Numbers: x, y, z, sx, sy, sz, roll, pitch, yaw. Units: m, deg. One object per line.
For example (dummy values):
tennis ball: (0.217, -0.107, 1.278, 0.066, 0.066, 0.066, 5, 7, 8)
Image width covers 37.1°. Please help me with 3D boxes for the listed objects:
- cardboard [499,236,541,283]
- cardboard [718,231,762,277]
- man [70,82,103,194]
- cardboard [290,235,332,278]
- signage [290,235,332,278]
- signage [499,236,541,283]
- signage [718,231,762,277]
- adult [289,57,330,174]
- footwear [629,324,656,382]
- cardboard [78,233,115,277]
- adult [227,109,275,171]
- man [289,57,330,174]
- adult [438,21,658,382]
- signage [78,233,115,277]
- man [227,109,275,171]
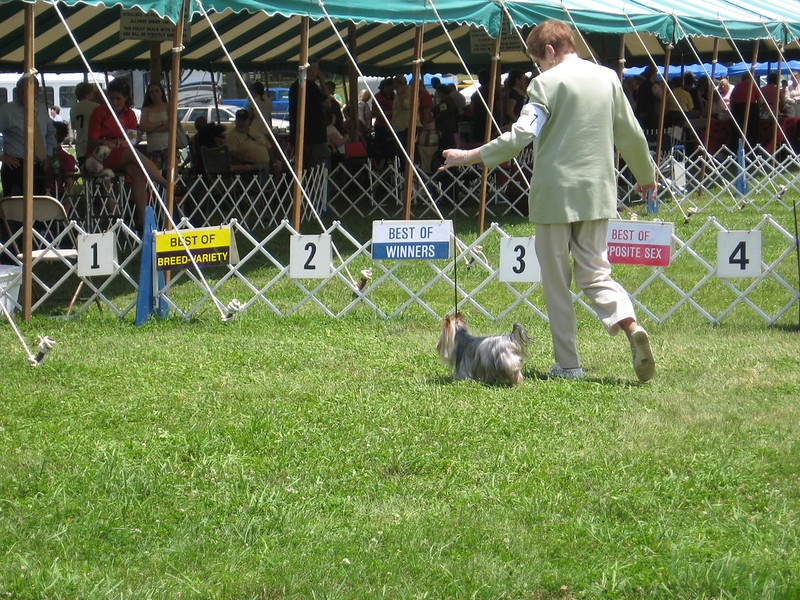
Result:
cardboard: (1.052, -0.357, 10.412, 0.305, 0.408, 0.069, 0, 5, 16)
cardboard: (2.961, -0.379, 10.445, 0.371, 0.073, 0.491, -1, 57, 19)
man: (-3.935, -2.116, 14.740, 0.304, 1.130, 0.288, -16, 43, -38)
cardboard: (-0.824, -0.493, 10.978, 0.383, 0.452, 0.296, -3, 35, -12)
signage: (-0.829, -0.497, 10.980, 0.379, 0.460, 0.281, 0, 34, -7)
signage: (1.052, -0.357, 10.412, 0.305, 0.408, 0.069, 0, 5, 16)
signage: (2.969, -0.411, 10.421, 0.295, 0.425, 0.088, 0, 1, 13)
adult: (-1.128, -2.391, 16.271, 0.291, 1.641, 0.414, -6, -2, 0)
footwear: (1.737, 0.393, 8.569, 0.133, 0.460, 0.175, -12, 20, -6)
cardboard: (-2.740, -0.418, 10.789, 0.278, 0.390, 0.058, -3, -3, -2)
adult: (-1.966, -2.071, 15.512, 0.551, 0.789, 0.519, -3, 9, -9)
man: (-1.136, -2.421, 16.279, 0.281, 1.609, 0.410, -5, 11, 0)
adult: (1.207, -0.726, 8.680, 1.437, 2.663, 1.076, -5, 15, -5)
signage: (-2.740, -0.418, 10.789, 0.278, 0.390, 0.058, -3, -3, -2)
man: (-1.945, -2.063, 15.618, 0.649, 0.914, 0.420, -6, -5, -39)
